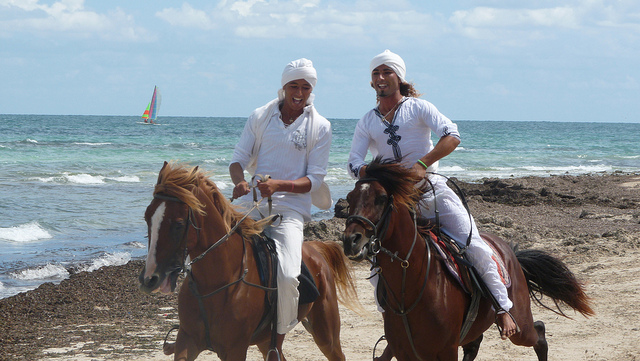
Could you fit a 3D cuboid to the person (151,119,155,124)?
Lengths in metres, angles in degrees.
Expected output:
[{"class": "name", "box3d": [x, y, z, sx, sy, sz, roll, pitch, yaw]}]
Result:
[{"class": "person", "box3d": [-24.732, -8.476, 105.794, 0.168, 0.286, 1.155, 32, 5, 14]}]

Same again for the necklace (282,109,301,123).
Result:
[{"class": "necklace", "box3d": [-0.679, -1.534, 17.614, 0.630, 0.164, 0.209, 12, 17, 26]}]
